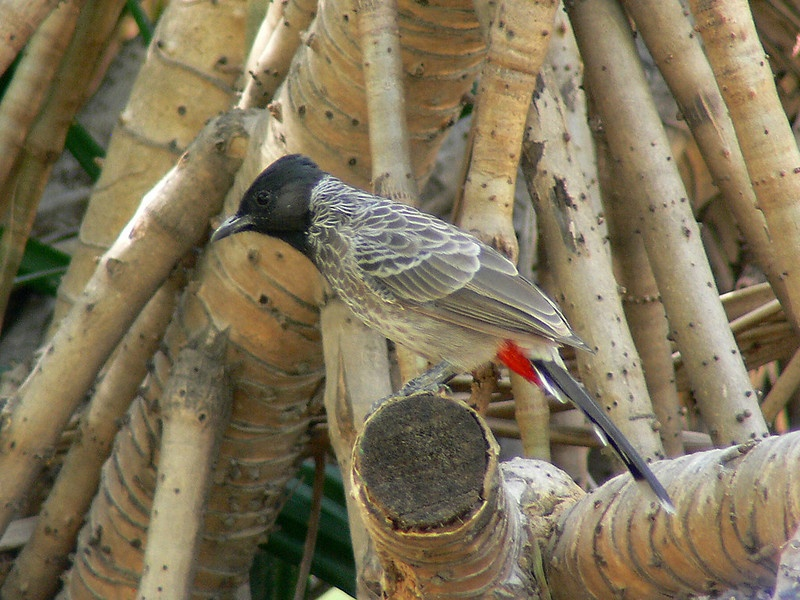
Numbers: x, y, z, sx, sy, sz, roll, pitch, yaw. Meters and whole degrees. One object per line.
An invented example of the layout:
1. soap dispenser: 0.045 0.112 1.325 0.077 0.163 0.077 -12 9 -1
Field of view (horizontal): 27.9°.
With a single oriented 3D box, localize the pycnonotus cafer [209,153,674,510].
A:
1. pycnonotus cafer: 0.127 0.030 6.936 2.035 1.043 0.583 11 10 7
